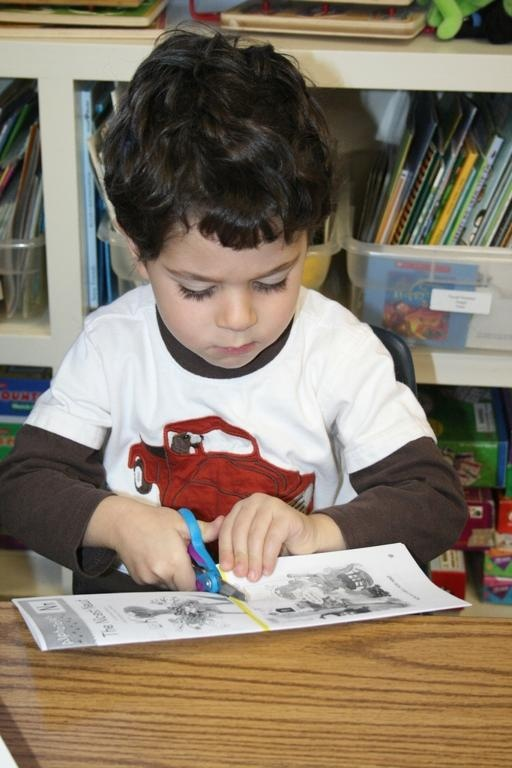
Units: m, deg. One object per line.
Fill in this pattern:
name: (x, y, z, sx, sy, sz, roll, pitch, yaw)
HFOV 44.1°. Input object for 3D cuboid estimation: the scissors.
scissors: (-0.044, 0.156, 0.584, 0.034, 0.019, 0.086, -39, 33, 2)
